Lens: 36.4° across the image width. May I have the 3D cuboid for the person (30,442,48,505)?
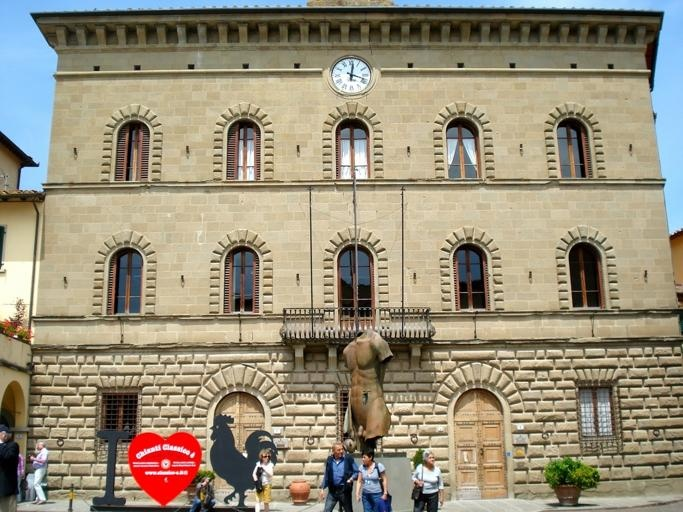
[{"bbox_3d":[-10.302,7.341,35.271,0.572,2.218,1.101,3,-17,-16],"label":"person"}]

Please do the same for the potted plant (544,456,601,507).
[{"bbox_3d":[7.665,7.426,34.682,1.435,1.592,1.636,2,-10,-17],"label":"potted plant"}]

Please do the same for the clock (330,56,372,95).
[{"bbox_3d":[0.307,-6.656,38.727,1.274,1.467,0.081,1,-10,-6],"label":"clock"}]

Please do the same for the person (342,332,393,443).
[{"bbox_3d":[0.824,3.947,30.975,1.440,3.453,0.641,-6,-17,14],"label":"person"}]

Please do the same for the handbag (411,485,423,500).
[{"bbox_3d":[2.032,6.423,28.045,0.169,0.362,0.448,6,-19,-24],"label":"handbag"}]
